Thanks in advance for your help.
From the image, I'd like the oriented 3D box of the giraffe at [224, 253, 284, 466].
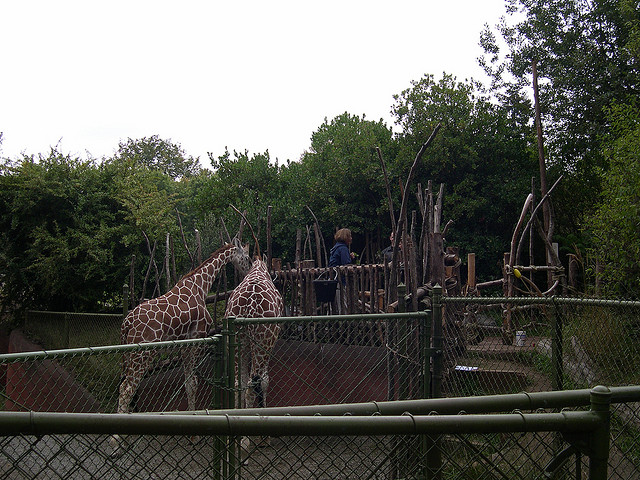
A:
[{"bbox_3d":[-0.746,1.232,9.008,0.553,2.287,2.684,-2,4,-12],"label":"giraffe"}]
